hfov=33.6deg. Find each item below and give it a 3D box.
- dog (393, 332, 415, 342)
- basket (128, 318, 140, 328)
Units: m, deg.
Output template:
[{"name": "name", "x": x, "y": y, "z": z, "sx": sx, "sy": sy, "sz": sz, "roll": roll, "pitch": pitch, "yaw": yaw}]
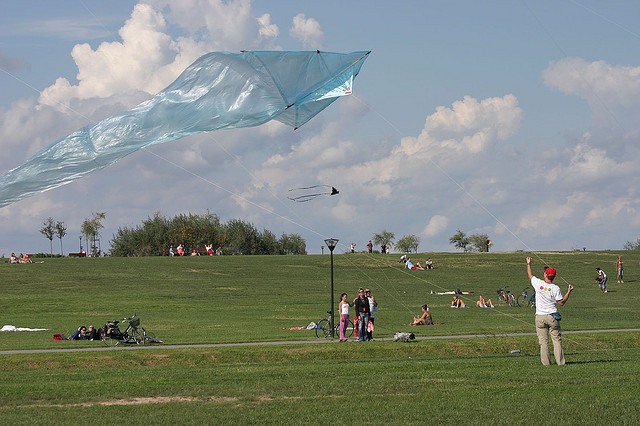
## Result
[{"name": "dog", "x": 5.047, "y": 7.490, "z": 65.768, "sx": 1.651, "sy": 0.784, "sz": 0.466, "roll": 2, "pitch": 5, "yaw": -5}, {"name": "basket", "x": -11.757, "y": 6.748, "z": 67.095, "sx": 0.599, "sy": 0.461, "sz": 0.754, "roll": -6, "pitch": -11, "yaw": -13}]
